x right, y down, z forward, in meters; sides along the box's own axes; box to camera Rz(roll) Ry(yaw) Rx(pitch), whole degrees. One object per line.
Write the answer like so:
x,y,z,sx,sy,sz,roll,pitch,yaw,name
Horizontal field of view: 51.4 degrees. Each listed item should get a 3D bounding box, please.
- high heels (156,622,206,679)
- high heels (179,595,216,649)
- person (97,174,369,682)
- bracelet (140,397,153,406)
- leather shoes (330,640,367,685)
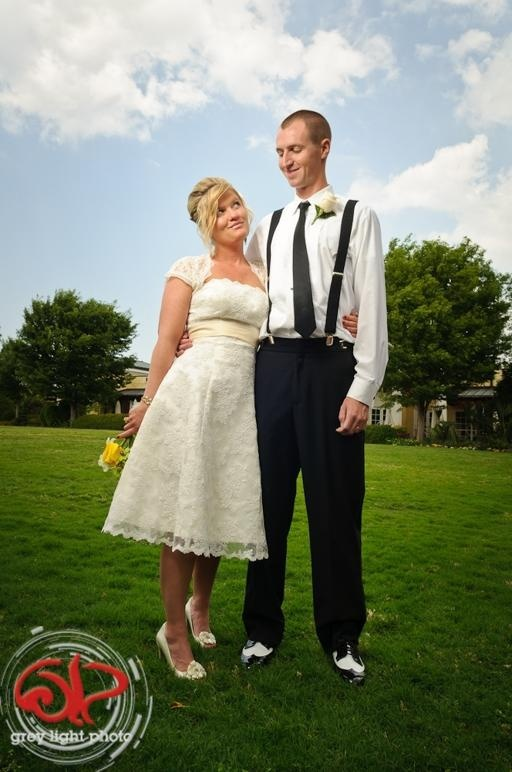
-0.317,1.109,2.297,0.108,0.132,0.316,6,8,-40,high heels
-0.322,1.191,2.649,0.109,0.117,0.295,20,21,-45,high heels
-0.280,0.087,2.405,0.775,2.209,0.509,0,-2,-17,person
-0.503,0.064,2.441,0.049,0.047,0.020,7,13,31,bracelet
0.396,1.169,2.254,0.075,0.066,0.171,-1,1,-16,leather shoes
